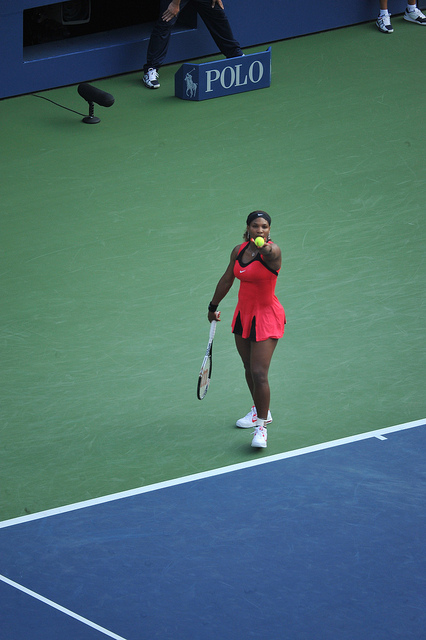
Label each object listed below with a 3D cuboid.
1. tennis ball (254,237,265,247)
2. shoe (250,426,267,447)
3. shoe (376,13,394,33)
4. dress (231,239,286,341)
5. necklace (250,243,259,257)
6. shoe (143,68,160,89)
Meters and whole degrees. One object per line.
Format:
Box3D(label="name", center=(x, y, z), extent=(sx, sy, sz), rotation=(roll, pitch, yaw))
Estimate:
Box3D(label="tennis ball", center=(0.328, -0.540, 4.552), extent=(0.061, 0.056, 0.064), rotation=(4, 41, -3))
Box3D(label="shoe", center=(0.392, 0.938, 5.381), extent=(0.161, 0.188, 0.110), rotation=(1, 8, -23))
Box3D(label="shoe", center=(3.756, -6.459, 14.407), extent=(0.362, 0.368, 0.328), rotation=(5, 7, 9))
Box3D(label="dress", center=(0.358, -0.215, 5.046), extent=(0.413, 0.743, 0.319), rotation=(4, 8, 1))
Box3D(label="necklace", center=(0.310, -0.523, 4.870), extent=(0.098, 0.095, 0.037), rotation=(-5, 9, 2))
Box3D(label="shoe", center=(-1.155, -4.581, 12.536), extent=(0.296, 0.353, 0.175), rotation=(3, 8, -11))
